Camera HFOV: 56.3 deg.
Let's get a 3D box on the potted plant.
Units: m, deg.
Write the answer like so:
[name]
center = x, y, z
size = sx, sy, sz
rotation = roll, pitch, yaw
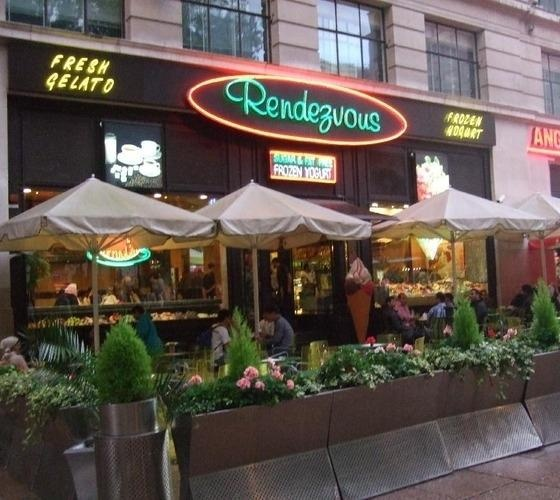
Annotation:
[potted plant]
center = -1.110, 0.952, 3.828
size = 0.417, 0.782, 0.434
rotation = 7, -21, -44
